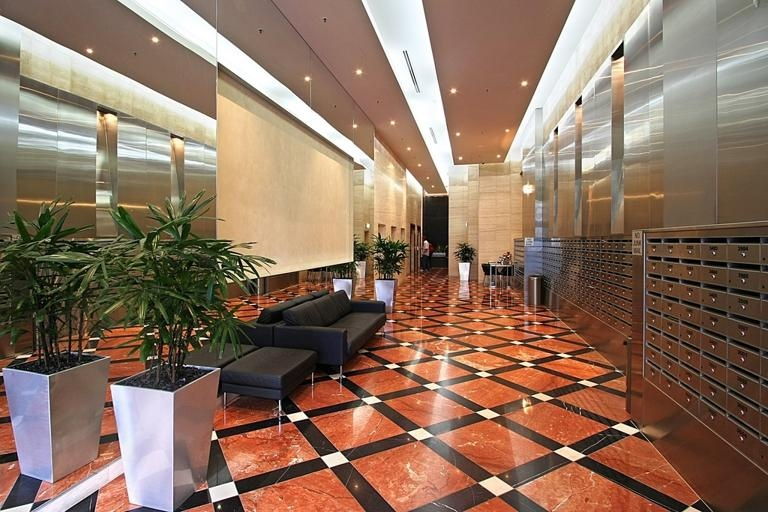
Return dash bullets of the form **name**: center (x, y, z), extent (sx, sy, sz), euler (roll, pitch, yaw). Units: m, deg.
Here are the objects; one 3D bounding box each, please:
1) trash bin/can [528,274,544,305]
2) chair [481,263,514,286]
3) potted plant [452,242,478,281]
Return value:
- **trash bin/can**: center (3.821, 0.841, 10.909), extent (0.413, 0.699, 0.461), euler (2, 14, 6)
- **chair**: center (3.845, 0.562, 14.670), extent (0.751, 0.741, 0.917), euler (1, -1, 6)
- **potted plant**: center (3.354, 0.136, 17.757), extent (0.646, 1.127, 0.673), euler (-1, 16, 4)
